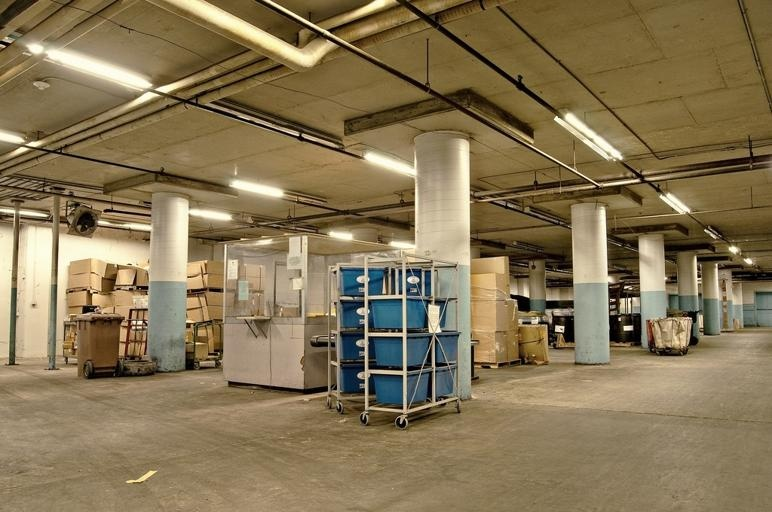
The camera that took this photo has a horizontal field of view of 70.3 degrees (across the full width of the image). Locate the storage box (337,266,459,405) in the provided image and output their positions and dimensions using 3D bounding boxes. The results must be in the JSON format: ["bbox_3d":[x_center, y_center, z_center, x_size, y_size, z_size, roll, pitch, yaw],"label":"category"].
[{"bbox_3d":[0.292,1.464,10.278,1.822,3.031,1.641,4,-8,-34],"label":"storage box"}]

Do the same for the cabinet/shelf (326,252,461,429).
[{"bbox_3d":[0.287,1.427,10.447,1.989,3.398,1.834,4,-7,-36],"label":"cabinet/shelf"}]

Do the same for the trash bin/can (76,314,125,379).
[{"bbox_3d":[-7.861,2.406,14.996,1.509,1.564,1.720,4,-6,-39],"label":"trash bin/can"}]
